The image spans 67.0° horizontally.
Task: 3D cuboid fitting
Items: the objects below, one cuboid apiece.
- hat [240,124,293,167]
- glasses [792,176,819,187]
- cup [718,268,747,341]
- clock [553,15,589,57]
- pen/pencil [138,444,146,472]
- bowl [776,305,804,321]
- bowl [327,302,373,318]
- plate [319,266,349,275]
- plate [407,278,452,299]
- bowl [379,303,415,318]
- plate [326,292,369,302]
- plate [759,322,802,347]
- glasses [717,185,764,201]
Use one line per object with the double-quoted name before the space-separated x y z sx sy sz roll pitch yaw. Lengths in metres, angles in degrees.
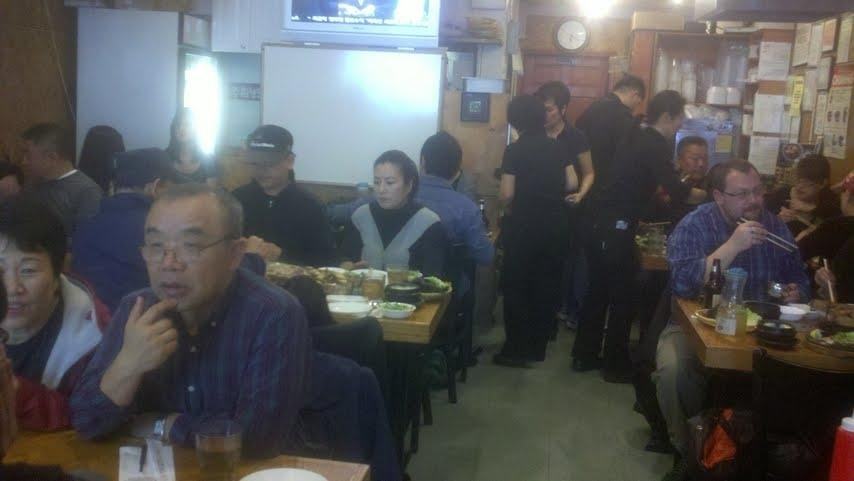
"hat" -0.817 -0.512 3.398 0.229 0.211 0.242 1 -3 -1
"glasses" 1.811 -0.283 3.074 0.107 0.045 0.034 2 10 2
"cup" 1.347 0.265 2.859 0.117 0.294 0.099 4 11 13
"clock" 1.062 -1.545 4.810 0.220 0.265 0.327 3 10 8
"pen/pencil" -0.907 0.699 2.075 0.023 0.075 0.024 4 -13 3
"bowl" 1.692 0.330 2.990 0.104 0.042 0.159 7 11 30
"bowl" -0.362 0.322 3.072 0.212 0.038 0.172 0 10 -7
"plate" -0.484 0.143 3.371 0.144 0.036 0.251 0 10 -9
"plate" 0.023 0.232 3.325 0.127 0.047 0.122 5 7 24
"bowl" -0.146 0.328 3.100 0.175 0.059 0.146 1 10 -4
"plate" -0.394 0.278 3.192 0.200 0.023 0.096 0 10 -9
"plate" 1.512 0.402 2.811 0.132 0.051 0.121 -2 14 -2
"glasses" 1.485 -0.230 3.059 0.181 0.057 0.036 2 10 6
